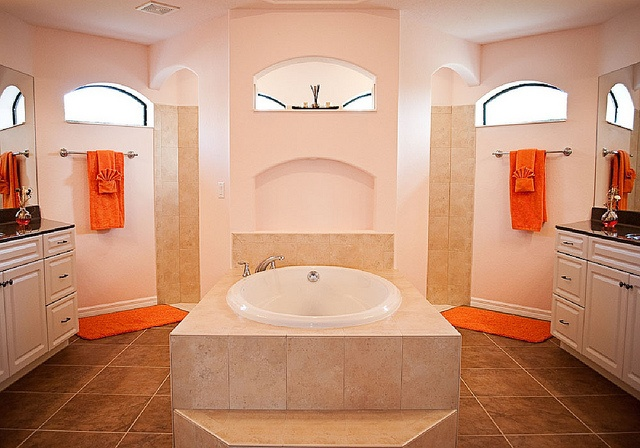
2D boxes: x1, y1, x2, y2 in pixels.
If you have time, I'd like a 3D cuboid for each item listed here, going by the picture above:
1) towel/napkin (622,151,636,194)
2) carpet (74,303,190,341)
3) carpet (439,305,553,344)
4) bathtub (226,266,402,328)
[{"bbox_3d":[2.962,-0.499,4.469,0.097,0.304,0.246,3,6,30],"label":"towel/napkin"},{"bbox_3d":[-2.029,1.051,5.059,1.084,0.126,0.620,-3,7,-26],"label":"carpet"},{"bbox_3d":[1.899,1.070,5.020,1.110,0.134,0.620,3,7,25],"label":"carpet"},{"bbox_3d":[-0.062,0.676,3.896,1.400,0.428,1.140,-1,6,-11],"label":"bathtub"}]
